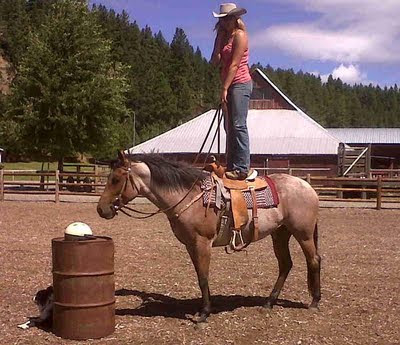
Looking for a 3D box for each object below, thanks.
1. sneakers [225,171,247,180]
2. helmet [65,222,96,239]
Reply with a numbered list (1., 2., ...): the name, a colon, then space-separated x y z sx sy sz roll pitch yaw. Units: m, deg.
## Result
1. sneakers: 0.571 0.038 8.951 0.300 0.155 0.153 12 22 -10
2. helmet: -1.799 0.849 8.394 0.319 0.198 0.245 0 1 -2
